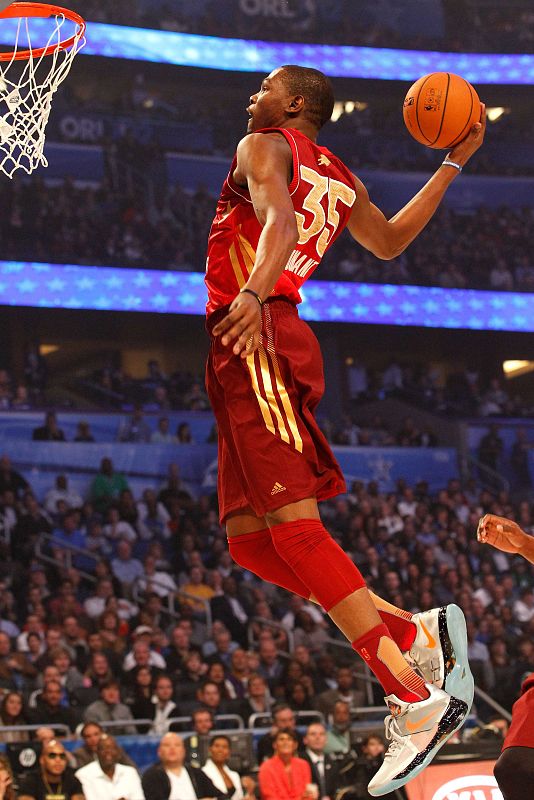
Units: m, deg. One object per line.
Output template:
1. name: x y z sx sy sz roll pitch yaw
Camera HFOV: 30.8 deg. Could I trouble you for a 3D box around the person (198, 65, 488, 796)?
1. person: 0.202 0.046 2.680 0.754 2.015 0.770 1 2 -4
